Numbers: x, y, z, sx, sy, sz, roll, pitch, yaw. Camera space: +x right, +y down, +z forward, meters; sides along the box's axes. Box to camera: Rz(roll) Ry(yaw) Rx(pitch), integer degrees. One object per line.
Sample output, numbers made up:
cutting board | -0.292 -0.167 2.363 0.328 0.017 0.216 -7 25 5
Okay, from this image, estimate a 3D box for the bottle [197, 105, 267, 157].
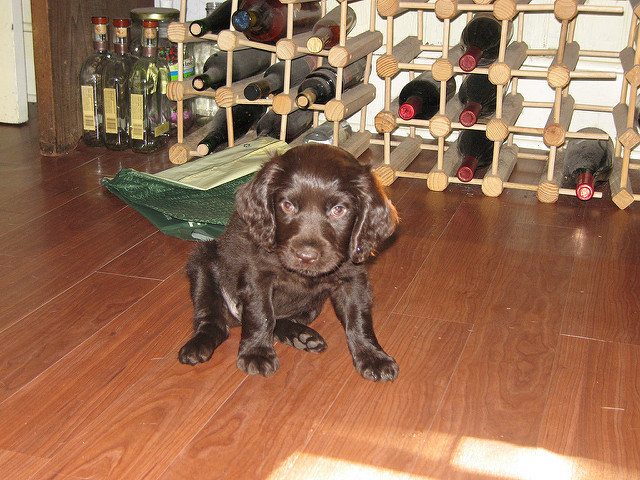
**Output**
bottle | -0.599 -0.761 3.670 0.199 0.208 0.591 -6 26 30
